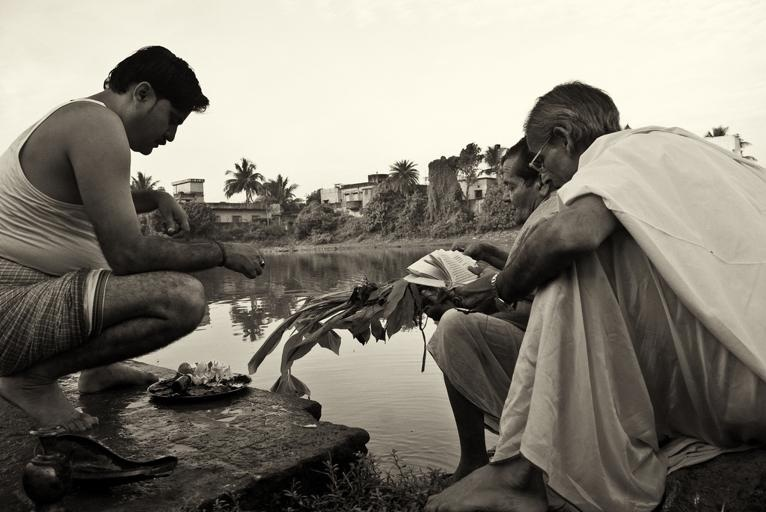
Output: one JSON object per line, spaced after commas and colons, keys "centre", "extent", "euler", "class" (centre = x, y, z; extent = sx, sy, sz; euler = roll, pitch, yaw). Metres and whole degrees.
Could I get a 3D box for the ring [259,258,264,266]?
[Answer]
{"centre": [-0.647, 0.032, 3.176], "extent": [0.027, 0.038, 0.019], "euler": [-24, -32, 35], "class": "ring"}
